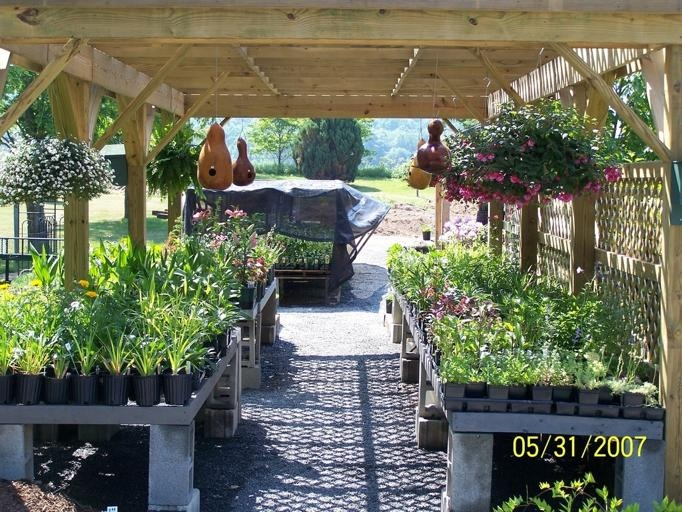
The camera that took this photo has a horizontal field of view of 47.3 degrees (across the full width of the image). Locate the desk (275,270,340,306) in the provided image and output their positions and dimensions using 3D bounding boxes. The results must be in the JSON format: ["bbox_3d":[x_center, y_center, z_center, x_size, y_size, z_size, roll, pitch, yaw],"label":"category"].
[{"bbox_3d":[-0.531,0.436,11.780,0.914,0.510,1.407,-1,2,-10],"label":"desk"}]

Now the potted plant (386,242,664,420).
[{"bbox_3d":[1.333,0.537,5.494,0.983,0.588,1.809,3,9,4],"label":"potted plant"}]

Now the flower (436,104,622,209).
[{"bbox_3d":[1.350,-0.689,5.524,1.066,0.890,1.094,0,0,10],"label":"flower"}]

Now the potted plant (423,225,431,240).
[{"bbox_3d":[1.981,-0.535,17.984,0.204,0.322,0.468,0,1,5],"label":"potted plant"}]

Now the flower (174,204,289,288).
[{"bbox_3d":[-1.134,-0.112,7.139,0.920,0.749,1.007,14,0,9],"label":"flower"}]
